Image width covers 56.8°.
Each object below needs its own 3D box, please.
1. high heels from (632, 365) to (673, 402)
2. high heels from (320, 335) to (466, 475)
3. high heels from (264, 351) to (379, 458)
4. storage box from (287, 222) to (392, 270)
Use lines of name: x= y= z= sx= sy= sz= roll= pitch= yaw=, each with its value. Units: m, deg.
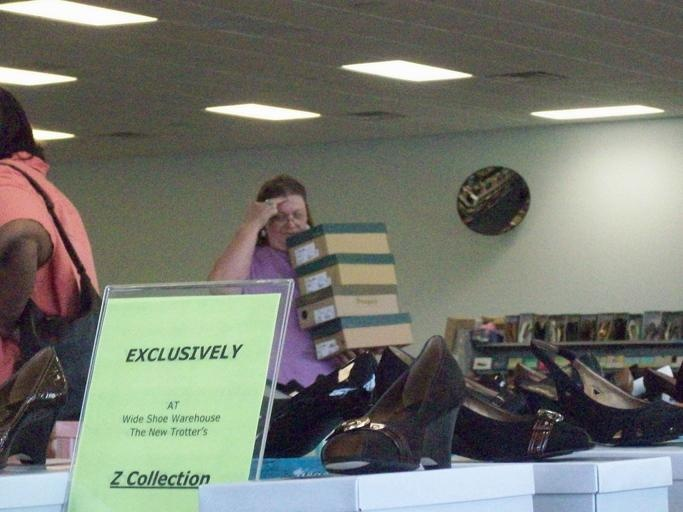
high heels: x=0.642 y=0.258 z=1.316 sx=0.062 sy=0.074 sz=0.193 roll=0 pitch=3 yaw=22
high heels: x=0.054 y=0.153 z=0.633 sx=0.072 sy=0.127 sz=0.215 roll=-13 pitch=-18 yaw=34
high heels: x=-0.036 y=0.198 z=0.819 sx=0.225 sy=0.087 sz=0.083 roll=-31 pitch=-44 yaw=32
storage box: x=-0.012 y=-0.056 z=2.488 sx=0.319 sy=0.102 sz=0.218 roll=-3 pitch=2 yaw=-42
